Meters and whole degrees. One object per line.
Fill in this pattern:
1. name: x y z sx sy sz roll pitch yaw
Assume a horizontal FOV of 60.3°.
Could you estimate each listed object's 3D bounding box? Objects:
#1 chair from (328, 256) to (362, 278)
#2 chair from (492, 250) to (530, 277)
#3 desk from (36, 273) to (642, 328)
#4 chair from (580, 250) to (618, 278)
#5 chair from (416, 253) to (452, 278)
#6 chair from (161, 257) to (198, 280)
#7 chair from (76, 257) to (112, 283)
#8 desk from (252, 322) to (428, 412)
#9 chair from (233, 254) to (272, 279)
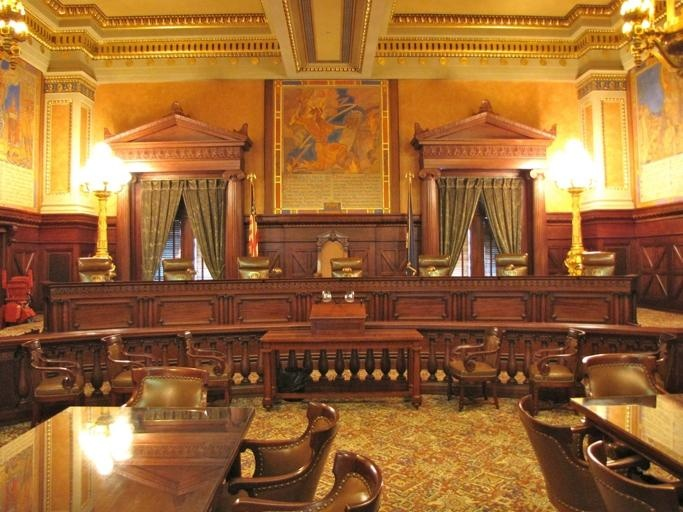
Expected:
1. chair: 0.075 0.180 9.152 0.502 0.325 0.273 0 -7 2
2. chair: 2.647 0.132 9.283 0.608 0.512 0.337 1 6 3
3. desk: 0.005 0.624 7.874 7.512 0.793 0.416 -4 -1 -1
4. chair: 3.912 0.115 8.957 0.464 0.367 0.444 1 -1 4
5. chair: 1.453 0.154 9.282 0.394 0.466 0.379 2 10 8
6. chair: -2.598 0.228 9.339 0.449 0.555 0.580 1 -3 -16
7. chair: -3.697 0.194 8.802 0.485 0.380 0.461 1 1 -7
8. desk: 0.011 1.384 7.237 1.877 0.800 0.836 -1 -1 0
9. chair: -1.419 0.061 9.309 0.656 0.420 0.337 0 3 -3
